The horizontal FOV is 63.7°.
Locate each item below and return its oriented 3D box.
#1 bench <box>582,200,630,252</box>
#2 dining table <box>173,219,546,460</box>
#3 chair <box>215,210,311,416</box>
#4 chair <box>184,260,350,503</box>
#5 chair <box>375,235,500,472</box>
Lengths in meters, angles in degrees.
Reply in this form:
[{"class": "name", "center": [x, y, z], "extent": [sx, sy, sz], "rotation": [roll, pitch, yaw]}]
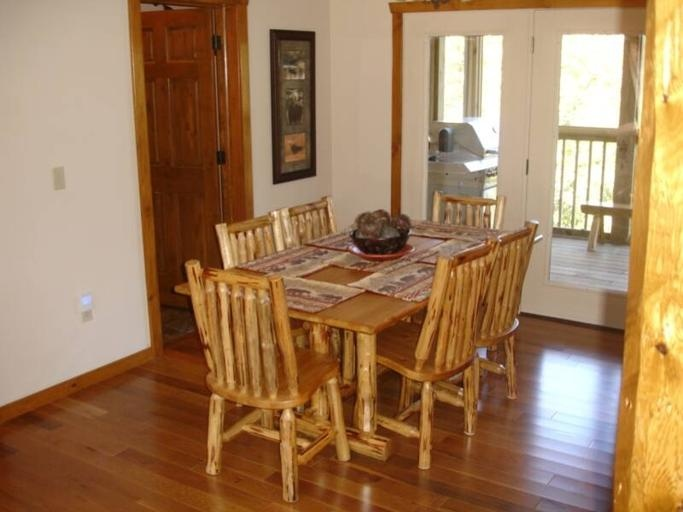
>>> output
[{"class": "bench", "center": [2.037, -0.238, 4.201], "extent": [0.363, 0.311, 0.180], "rotation": [9, 20, 26]}, {"class": "dining table", "center": [0.346, 0.328, 3.375], "extent": [1.403, 1.037, 1.872], "rotation": [8, 15, 31]}, {"class": "chair", "center": [-0.444, 0.470, 3.505], "extent": [0.590, 0.912, 0.612], "rotation": [13, 21, 38]}, {"class": "chair", "center": [-0.327, 0.534, 2.603], "extent": [0.619, 1.028, 0.653], "rotation": [10, 15, 40]}, {"class": "chair", "center": [0.409, 0.469, 2.864], "extent": [0.665, 1.066, 0.575], "rotation": [9, 16, 40]}]
